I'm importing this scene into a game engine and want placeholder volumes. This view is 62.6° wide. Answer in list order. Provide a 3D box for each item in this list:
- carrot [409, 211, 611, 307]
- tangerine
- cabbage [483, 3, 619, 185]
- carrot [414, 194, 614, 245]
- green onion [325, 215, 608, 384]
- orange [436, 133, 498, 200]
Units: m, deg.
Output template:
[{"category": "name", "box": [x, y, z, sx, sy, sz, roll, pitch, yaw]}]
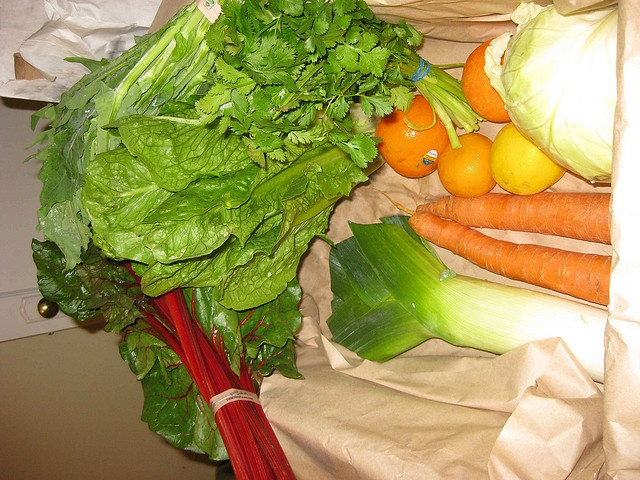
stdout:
[{"category": "carrot", "box": [0.455, -0.009, 1.646, 0.820, 0.154, 0.165, 24, 4, 32]}, {"category": "tangerine", "box": [0.484, -0.441, 1.470, 0.163, 0.206, 0.174, -7, 1, 3]}, {"category": "cabbage", "box": [0.656, -0.339, 1.415, 0.341, 0.410, 0.224, 25, 15, 28]}, {"category": "carrot", "box": [0.531, -0.073, 1.550, 0.678, 0.172, 0.140, 5, 11, 25]}, {"category": "green onion", "box": [0.384, 0.191, 1.521, 0.708, 0.385, 0.210, 14, -20, 23]}, {"category": "orange", "box": [0.418, -0.202, 1.474, 0.158, 0.170, 0.154, -5, -35, 37]}]
